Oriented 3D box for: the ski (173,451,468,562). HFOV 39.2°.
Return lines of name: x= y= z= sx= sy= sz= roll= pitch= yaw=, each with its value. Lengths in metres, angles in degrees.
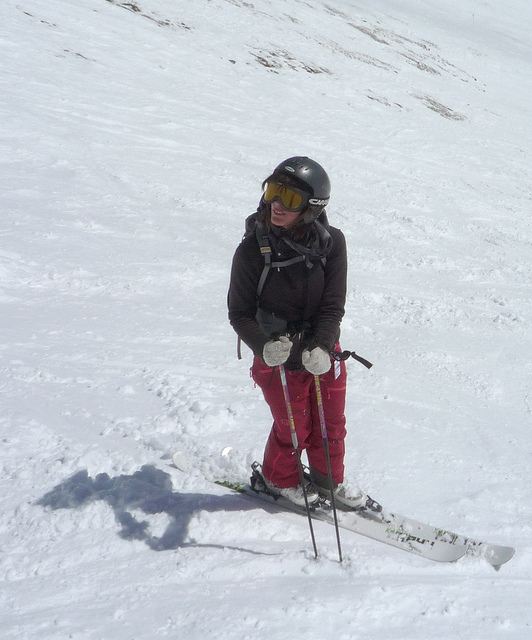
ski: x=0.432 y=1.767 z=6.988 sx=3.051 sy=0.129 sz=0.301 roll=14 pitch=15 yaw=13
